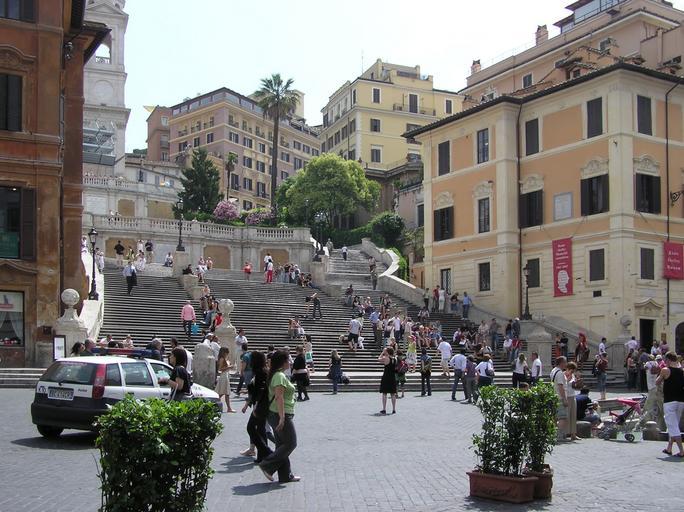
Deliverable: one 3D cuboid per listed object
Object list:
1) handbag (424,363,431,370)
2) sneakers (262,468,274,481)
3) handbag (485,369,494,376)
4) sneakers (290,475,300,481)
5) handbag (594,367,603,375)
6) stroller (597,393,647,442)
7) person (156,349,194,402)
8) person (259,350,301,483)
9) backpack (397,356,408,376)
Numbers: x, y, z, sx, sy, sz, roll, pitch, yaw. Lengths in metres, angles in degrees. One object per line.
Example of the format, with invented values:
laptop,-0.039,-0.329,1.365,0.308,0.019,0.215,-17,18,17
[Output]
handbag,3.078,4.073,33.797,0.217,0.216,0.057,-8,15,-41
sneakers,-1.589,4.683,19.758,0.111,0.331,0.130,-36,-20,-3
handbag,5.136,4.096,32.280,0.309,0.341,0.203,-7,-9,27
sneakers,-1.021,4.833,20.026,0.220,0.136,0.301,2,-8,6
handbag,9.734,4.404,35.186,0.211,0.375,0.258,0,6,-5
stroller,8.134,4.755,26.994,1.409,1.635,1.112,-4,-4,13
person,-3.788,2.751,21.551,0.550,1.207,0.526,5,-8,-16
person,-1.292,3.496,20.060,0.852,2.841,0.796,3,-8,-2
backpack,2.023,3.631,30.447,0.546,0.597,0.427,1,4,-12
